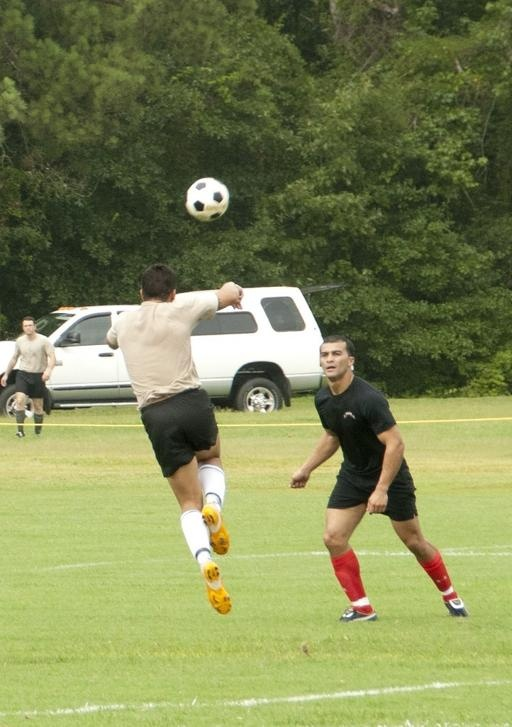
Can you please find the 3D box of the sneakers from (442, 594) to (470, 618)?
[{"bbox_3d":[1.065,1.304,6.804,0.064,0.077,0.171,-12,52,-6],"label":"sneakers"}]

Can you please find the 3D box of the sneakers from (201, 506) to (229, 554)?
[{"bbox_3d":[-0.239,0.887,6.783,0.100,0.262,0.139,-3,35,19],"label":"sneakers"}]

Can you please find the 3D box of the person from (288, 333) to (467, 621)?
[{"bbox_3d":[0.587,0.619,6.826,0.629,1.576,0.801,-13,14,-29],"label":"person"}]

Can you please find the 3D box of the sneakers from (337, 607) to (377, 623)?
[{"bbox_3d":[0.527,1.313,6.720,0.201,0.081,0.071,5,9,2],"label":"sneakers"}]

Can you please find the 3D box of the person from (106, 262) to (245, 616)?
[{"bbox_3d":[-0.357,0.484,6.839,0.713,1.968,1.388,-7,12,-1],"label":"person"}]

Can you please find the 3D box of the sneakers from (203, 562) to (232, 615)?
[{"bbox_3d":[-0.197,1.134,6.310,0.112,0.308,0.199,-7,12,-4],"label":"sneakers"}]

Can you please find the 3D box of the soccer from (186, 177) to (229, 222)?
[{"bbox_3d":[-0.702,-2.309,18.123,0.557,0.591,0.519,-5,12,3],"label":"soccer"}]

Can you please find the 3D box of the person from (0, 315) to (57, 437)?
[{"bbox_3d":[-2.737,0.161,15.360,0.671,1.529,1.398,-8,12,-10],"label":"person"}]

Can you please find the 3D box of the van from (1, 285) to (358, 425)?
[{"bbox_3d":[-1.193,-0.262,17.719,4.902,1.679,1.743,1,-1,-17],"label":"van"}]
